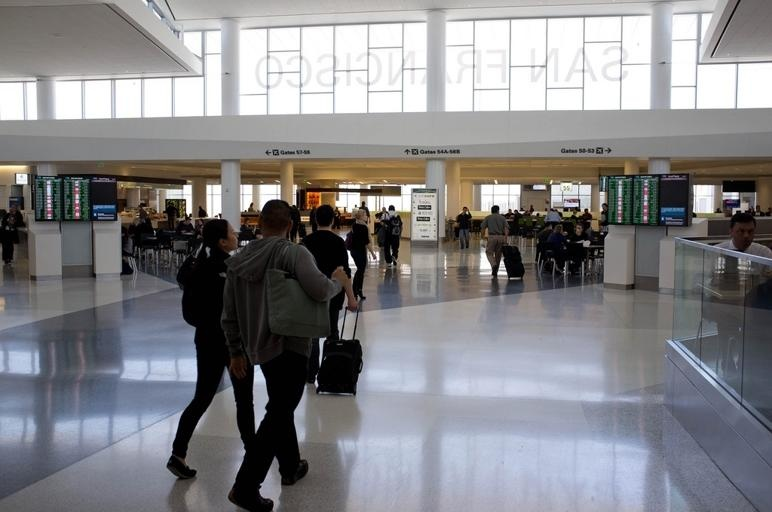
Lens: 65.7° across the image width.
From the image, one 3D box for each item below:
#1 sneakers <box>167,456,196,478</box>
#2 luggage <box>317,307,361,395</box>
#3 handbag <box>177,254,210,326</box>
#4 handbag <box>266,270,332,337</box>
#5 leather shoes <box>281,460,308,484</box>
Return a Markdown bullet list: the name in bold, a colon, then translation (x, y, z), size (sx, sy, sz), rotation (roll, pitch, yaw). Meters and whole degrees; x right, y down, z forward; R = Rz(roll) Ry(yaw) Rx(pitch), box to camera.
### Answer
- **sneakers**: translation (-1.653, 1.710, 4.791), size (0.198, 0.089, 0.071), rotation (45, -11, -17)
- **luggage**: translation (-0.476, 1.000, 6.522), size (0.432, 0.998, 0.297), rotation (-4, -27, 19)
- **handbag**: translation (-1.609, 0.287, 4.902), size (0.119, 0.504, 0.350), rotation (6, -7, -14)
- **handbag**: translation (-0.660, 0.340, 4.307), size (0.411, 0.390, 0.165), rotation (9, -5, -25)
- **leather shoes**: translation (-0.729, 1.745, 4.743), size (0.093, 0.108, 0.267), rotation (7, 20, 19)
